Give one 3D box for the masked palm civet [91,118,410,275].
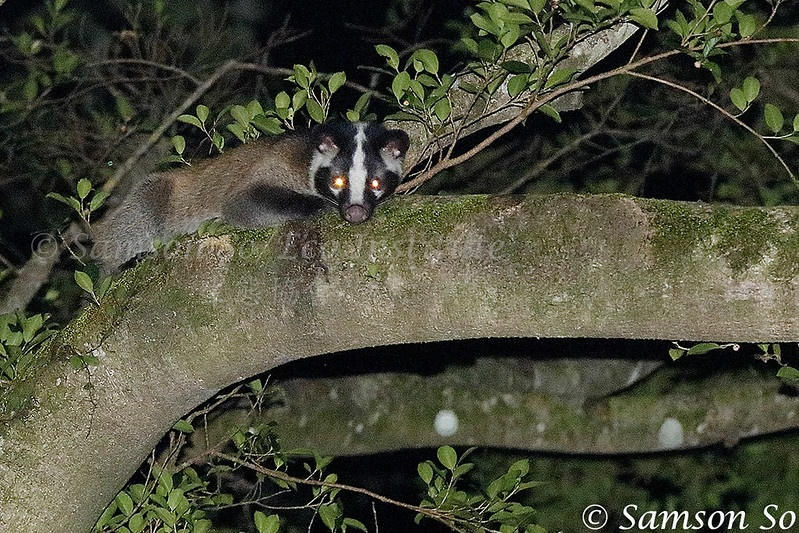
[{"bbox_3d":[-1.058,-0.505,8.885,2.620,0.977,0.562,-10,39,10],"label":"masked palm civet"}]
